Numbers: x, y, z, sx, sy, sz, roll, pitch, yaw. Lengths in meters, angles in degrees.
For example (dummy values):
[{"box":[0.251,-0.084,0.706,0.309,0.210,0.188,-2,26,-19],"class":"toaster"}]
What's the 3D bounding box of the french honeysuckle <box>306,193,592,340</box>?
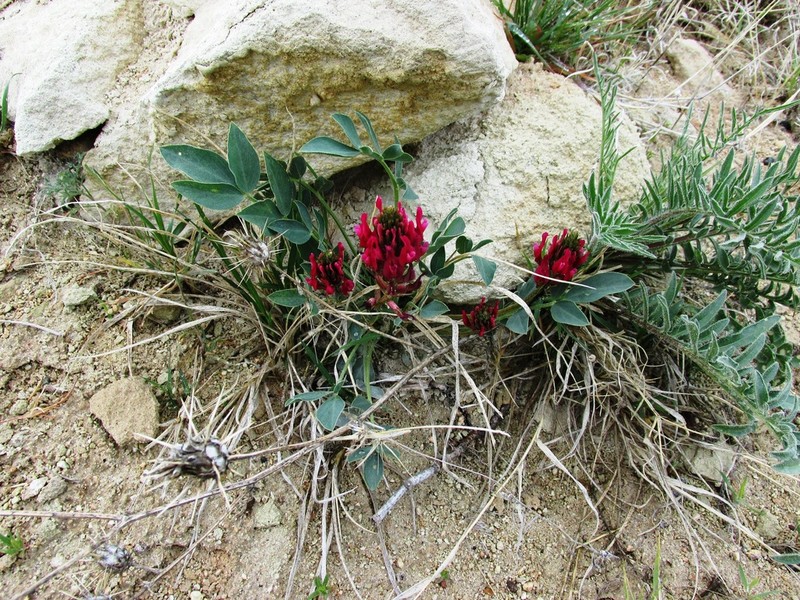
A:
[{"box":[0.114,-0.145,2.481,0.660,0.282,0.658,37,53,25],"class":"french honeysuckle"}]
